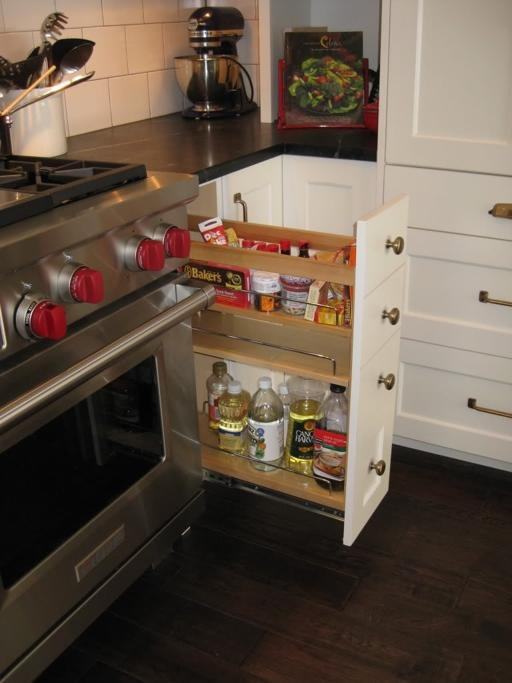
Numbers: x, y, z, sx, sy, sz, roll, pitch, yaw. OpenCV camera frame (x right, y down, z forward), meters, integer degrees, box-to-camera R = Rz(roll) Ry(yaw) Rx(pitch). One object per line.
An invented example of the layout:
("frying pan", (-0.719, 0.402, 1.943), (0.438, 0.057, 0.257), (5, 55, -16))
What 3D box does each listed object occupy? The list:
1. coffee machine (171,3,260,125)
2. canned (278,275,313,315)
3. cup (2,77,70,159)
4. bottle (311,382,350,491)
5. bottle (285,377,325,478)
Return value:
("coffee machine", (-0.125, -1.015, 2.042), (0.312, 0.361, 0.181), (-22, 31, -39))
("canned", (0.074, -0.107, 1.191), (0.075, 0.077, 0.076), (17, 26, 40))
("cup", (-0.544, -0.545, 1.416), (0.074, 0.152, 0.202), (5, 24, 16))
("bottle", (0.155, 0.202, 1.184), (0.069, 0.250, 0.149), (1, 24, 7))
("bottle", (0.097, 0.203, 1.297), (0.084, 0.220, 0.083), (7, -6, 1))
